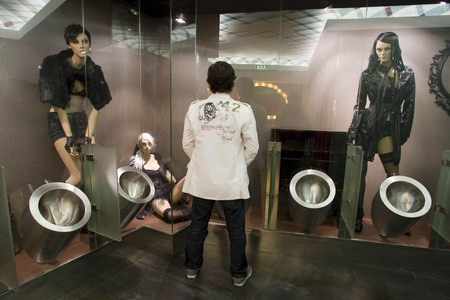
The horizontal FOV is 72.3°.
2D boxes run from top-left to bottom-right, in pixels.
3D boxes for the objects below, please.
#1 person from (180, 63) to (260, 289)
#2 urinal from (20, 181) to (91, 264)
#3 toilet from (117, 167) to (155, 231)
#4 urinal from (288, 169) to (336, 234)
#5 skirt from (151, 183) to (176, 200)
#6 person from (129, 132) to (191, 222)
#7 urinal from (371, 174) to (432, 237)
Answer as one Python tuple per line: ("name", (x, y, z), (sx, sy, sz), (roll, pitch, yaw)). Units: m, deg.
("person", (-0.062, 0.220, 2.826), (0.704, 1.994, 0.435), (2, 11, 6))
("urinal", (-1.321, 0.555, 2.640), (0.545, 0.596, 0.620), (25, -49, -33))
("toilet", (-0.899, 0.507, 3.106), (0.459, 0.467, 0.519), (9, -40, -34))
("urinal", (0.980, 0.565, 3.487), (0.514, 0.678, 0.216), (4, 11, 17))
("skirt", (-0.659, 0.423, 3.212), (0.150, 0.155, 0.048), (0, -36, 38))
("person", (-0.648, 0.252, 3.158), (0.633, 0.848, 0.598), (0, 10, 21))
("urinal", (1.974, 0.609, 3.478), (0.494, 0.770, 0.483), (4, 7, 25))
